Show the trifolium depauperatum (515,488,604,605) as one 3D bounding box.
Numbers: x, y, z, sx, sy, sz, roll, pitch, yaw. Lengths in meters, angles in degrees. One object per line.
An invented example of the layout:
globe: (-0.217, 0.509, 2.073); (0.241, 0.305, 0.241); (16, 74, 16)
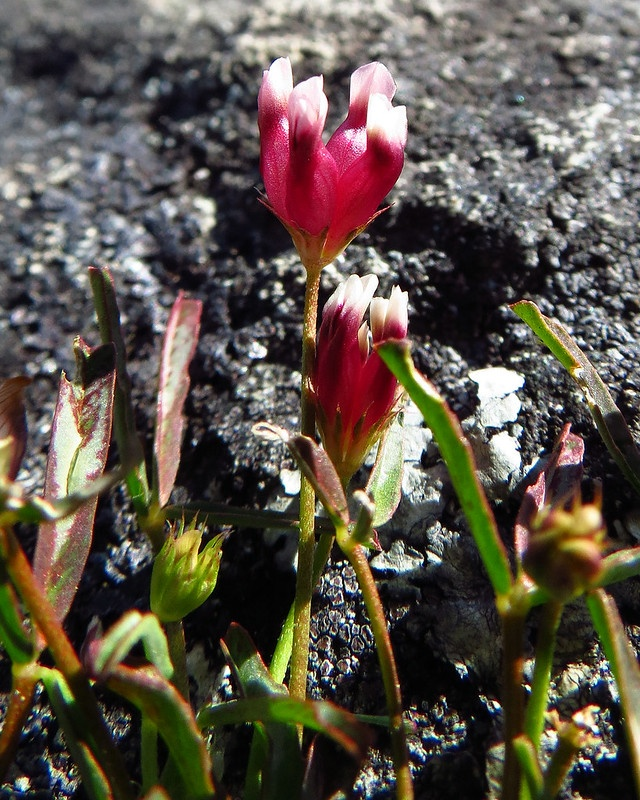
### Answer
trifolium depauperatum: (0.184, 0.116, 0.617); (0.063, 0.098, 0.064); (-10, 57, -5)

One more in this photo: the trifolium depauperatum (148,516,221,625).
trifolium depauperatum: (-0.130, 0.171, 0.771); (0.064, 0.119, 0.062); (5, 36, -6)
